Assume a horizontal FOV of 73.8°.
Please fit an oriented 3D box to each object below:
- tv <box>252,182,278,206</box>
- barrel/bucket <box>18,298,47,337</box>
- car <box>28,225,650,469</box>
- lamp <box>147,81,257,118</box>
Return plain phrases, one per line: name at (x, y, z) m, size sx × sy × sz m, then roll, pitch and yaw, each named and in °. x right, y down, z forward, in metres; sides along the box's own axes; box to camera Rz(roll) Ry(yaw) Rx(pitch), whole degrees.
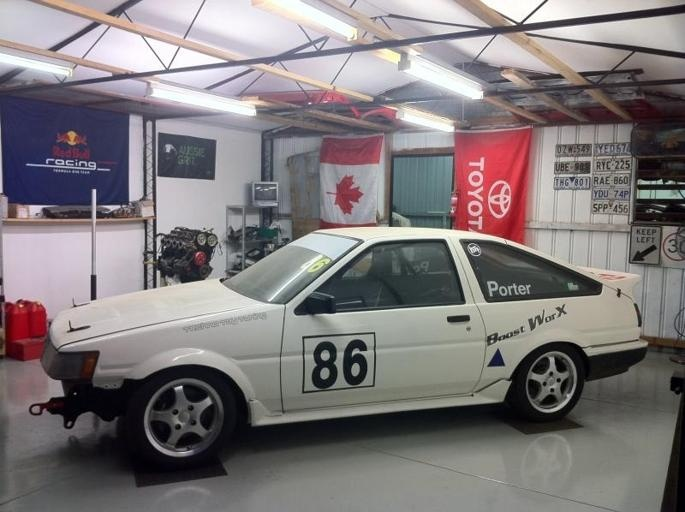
tv at (-1.812, -1.484, 10.780) m, size 0.574 × 0.544 × 0.301 m, roll 0°, pitch 1°, yaw 5°
barrel/bucket at (-4.351, 0.885, 6.456) m, size 0.357 × 0.649 × 0.410 m, roll -6°, pitch 9°, yaw -40°
car at (0.069, 0.668, 4.507) m, size 4.850 × 1.605 × 2.179 m, roll 3°, pitch -1°, yaw -16°
lamp at (-2.216, -2.564, 7.347) m, size 0.187 × 0.146 × 1.326 m, roll 51°, pitch 29°, yaw 21°
